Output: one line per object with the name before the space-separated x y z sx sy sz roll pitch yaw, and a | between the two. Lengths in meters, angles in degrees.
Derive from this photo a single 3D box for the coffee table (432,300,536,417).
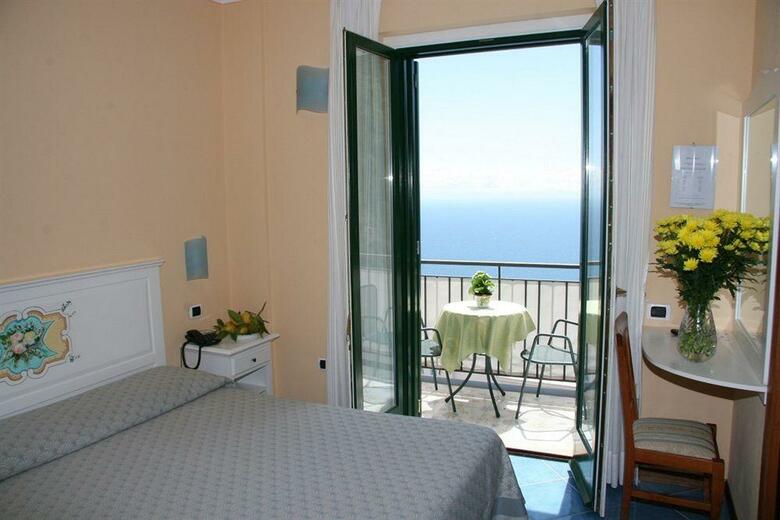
coffee table | 0.882 0.650 5.574 1.044 1.057 0.997 13 20 41

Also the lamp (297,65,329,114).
lamp | -0.676 -1.465 4.900 0.301 0.416 0.093 2 13 24

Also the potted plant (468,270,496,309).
potted plant | 0.882 0.303 5.524 0.292 0.324 0.281 0 7 7

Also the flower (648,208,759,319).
flower | 2.204 -0.117 3.922 0.618 0.749 0.714 8 21 34

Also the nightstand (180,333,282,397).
nightstand | -1.347 0.824 4.807 0.467 0.631 0.640 6 12 23

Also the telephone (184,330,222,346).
telephone | -1.517 0.635 4.708 0.158 0.083 0.176 4 1 14
